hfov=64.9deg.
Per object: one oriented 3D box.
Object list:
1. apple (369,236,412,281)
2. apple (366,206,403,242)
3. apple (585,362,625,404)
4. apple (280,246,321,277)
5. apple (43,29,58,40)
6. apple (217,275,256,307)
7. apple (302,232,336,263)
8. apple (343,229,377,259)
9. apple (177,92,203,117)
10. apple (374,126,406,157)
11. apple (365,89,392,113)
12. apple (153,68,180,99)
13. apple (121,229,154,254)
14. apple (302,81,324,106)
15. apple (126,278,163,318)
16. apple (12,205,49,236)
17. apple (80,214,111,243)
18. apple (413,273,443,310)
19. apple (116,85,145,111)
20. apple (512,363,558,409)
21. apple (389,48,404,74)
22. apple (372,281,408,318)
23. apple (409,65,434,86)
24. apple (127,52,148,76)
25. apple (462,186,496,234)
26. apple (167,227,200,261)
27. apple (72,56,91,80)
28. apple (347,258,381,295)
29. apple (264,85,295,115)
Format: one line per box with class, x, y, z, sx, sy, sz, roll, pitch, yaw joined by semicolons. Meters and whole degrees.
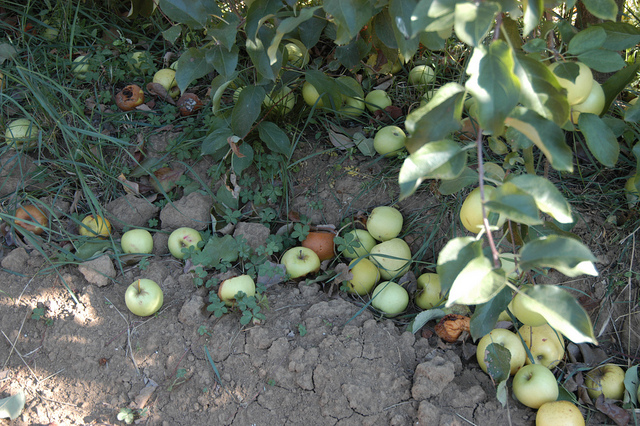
apple;0.426;0.266;3.001;0.247;0.182;0.220;38;70;11
apple;0.409;0.048;3.050;0.174;0.199;0.232;-9;112;9
apple;1.481;0.874;2.654;0.166;0.188;0.178;-9;45;15
apple;-0.116;0.280;2.955;0.169;0.167;0.170;41;72;7
apple;-1.846;-1.227;3.433;0.073;0.061;0.069;12;74;-44
apple;-0.467;0.425;2.811;0.180;0.146;0.167;-6;71;1
apple;0.006;0.229;3.133;0.240;0.240;0.237;-2;91;-7
apple;0.239;0.173;3.017;0.149;0.176;0.175;5;51;-8
apple;-0.874;-0.719;3.387;0.127;0.138;0.149;-11;97;-18
apple;0.427;-0.446;3.092;0.181;0.150;0.146;-1;67;-5
apple;0.380;-0.704;3.265;0.155;0.133;0.146;-13;89;31
apple;-1.035;-0.868;3.366;0.157;0.098;0.194;-19;71;-12
apple;-1.082;0.152;3.013;0.149;0.141;0.161;-35;112;-34
apple;-0.043;-0.734;3.155;0.084;0.108;0.155;-22;93;5
apple;-0.983;0.463;2.795;0.181;0.102;0.182;14;67;1
apple;-1.739;-0.020;3.037;0.191;0.089;0.216;21;42;-40
apple;-1.352;0.082;3.020;0.179;0.162;0.174;-6;80;-18
apple;0.618;0.452;2.902;0.146;0.150;0.200;-8;68;-8
apple;-1.259;-0.753;3.329;0.183;0.077;0.154;-31;74;-15
apple;1.099;0.879;2.569;0.198;0.133;0.205;-12;69;-9
apple;0.508;-0.999;3.303;0.106;0.110;0.141;3;79;21
apple;0.400;0.486;2.882;0.202;0.087;0.176;28;69;7
apple;0.649;-0.888;3.251;0.141;0.126;0.136;-20;103;-45
apple;-1.247;-1.013;3.422;0.121;0.110;0.158;2;107;-8
apple;0.689;-0.024;2.255;0.142;0.149;0.210;14;81;33
apple;-0.809;0.178;2.974;0.164;0.171;0.192;-2;87;-11
apple;-1.592;-0.954;3.385;0.114;0.145;0.131;-13;97;-10
apple;0.260;0.364;2.933;0.178;0.182;0.232;2;70;-9
apple;-0.257;-0.711;3.156;0.147;0.160;0.203;-1;102;-2
